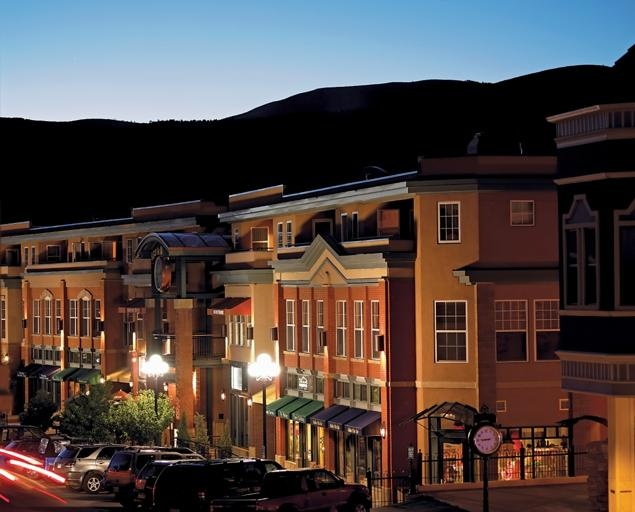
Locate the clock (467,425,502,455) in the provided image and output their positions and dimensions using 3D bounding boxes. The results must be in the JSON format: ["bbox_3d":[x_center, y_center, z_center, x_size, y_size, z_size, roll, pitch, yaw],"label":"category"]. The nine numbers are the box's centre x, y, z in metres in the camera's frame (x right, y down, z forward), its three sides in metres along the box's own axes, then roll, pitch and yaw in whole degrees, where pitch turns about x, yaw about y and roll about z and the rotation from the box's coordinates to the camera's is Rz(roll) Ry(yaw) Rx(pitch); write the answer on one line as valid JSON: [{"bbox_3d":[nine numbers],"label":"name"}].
[{"bbox_3d":[6.224,6.807,52.148,1.191,1.141,0.398,1,-6,-15],"label":"clock"}]
